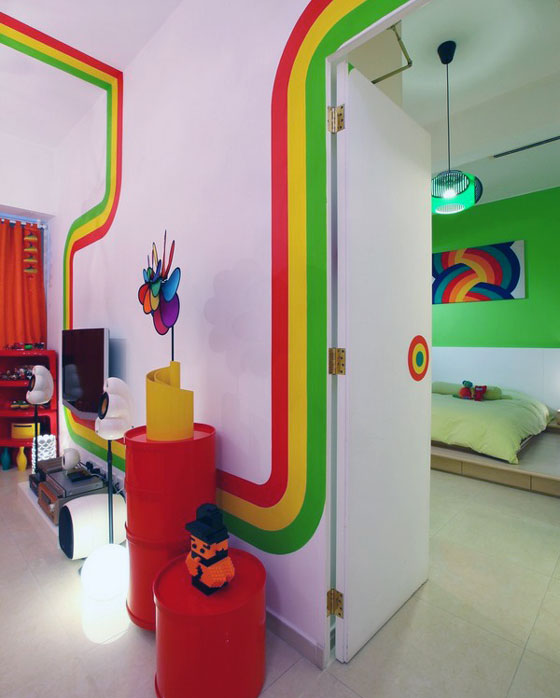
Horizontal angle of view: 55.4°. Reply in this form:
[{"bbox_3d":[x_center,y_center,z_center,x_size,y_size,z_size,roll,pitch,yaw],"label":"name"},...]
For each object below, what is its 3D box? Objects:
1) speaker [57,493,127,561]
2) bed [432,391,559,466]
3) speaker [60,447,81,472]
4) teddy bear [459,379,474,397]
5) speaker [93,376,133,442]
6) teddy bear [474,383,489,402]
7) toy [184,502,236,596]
[{"bbox_3d":[-0.970,0.838,2.760,0.310,0.478,0.247,1,-3,-41],"label":"speaker"},{"bbox_3d":[1.662,0.592,4.298,0.786,0.321,1.050,10,13,43],"label":"bed"},{"bbox_3d":[-1.242,0.649,3.190,0.127,0.234,0.123,4,-4,-27],"label":"speaker"},{"bbox_3d":[1.744,0.380,4.979,0.043,0.122,0.067,-6,20,-42],"label":"teddy bear"},{"bbox_3d":[-0.812,0.291,2.626,0.114,0.199,0.290,1,51,-27],"label":"speaker"},{"bbox_3d":[1.778,0.402,4.736,0.095,0.143,0.055,-14,8,-18],"label":"teddy bear"},{"bbox_3d":[-0.229,0.667,1.769,0.156,0.268,0.138,-1,7,-8],"label":"toy"}]
